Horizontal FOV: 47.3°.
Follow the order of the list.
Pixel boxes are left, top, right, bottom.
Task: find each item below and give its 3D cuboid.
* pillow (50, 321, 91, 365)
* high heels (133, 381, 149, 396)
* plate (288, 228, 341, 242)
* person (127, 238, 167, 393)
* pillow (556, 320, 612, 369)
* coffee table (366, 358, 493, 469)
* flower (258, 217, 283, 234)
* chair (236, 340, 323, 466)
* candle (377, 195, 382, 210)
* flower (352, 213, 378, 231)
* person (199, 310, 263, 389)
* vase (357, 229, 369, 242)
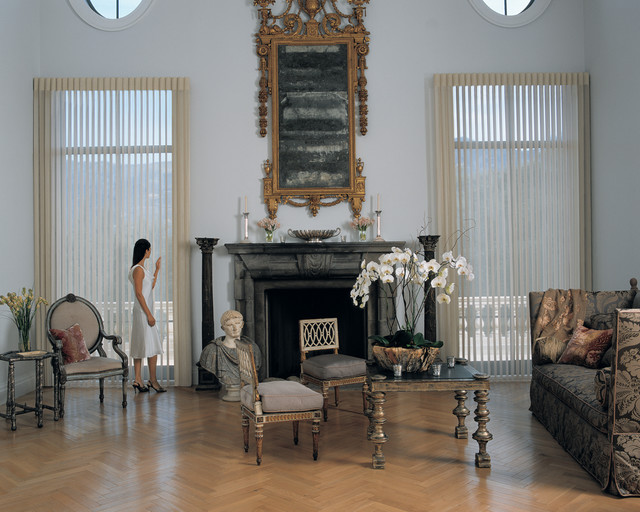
[{"bbox_3d":[-2.920,1.018,8.605,0.112,0.400,0.388,-22,-7,28],"label":"pillow"},{"bbox_3d":[-2.285,1.666,9.313,0.203,0.175,0.114,-3,5,-30],"label":"high heels"},{"bbox_3d":[-0.075,-0.284,9.565,0.672,0.161,0.374,-1,9,0],"label":"plate"},{"bbox_3d":[-2.226,0.734,9.332,0.405,1.962,0.596,-2,8,-13],"label":"person"},{"bbox_3d":[2.827,0.955,7.689,0.123,0.455,0.424,29,-7,-26],"label":"pillow"},{"bbox_3d":[1.132,1.465,7.358,1.267,0.859,1.295,0,9,4],"label":"coffee table"},{"bbox_3d":[-0.669,-0.427,9.508,0.211,0.166,0.216,2,-3,-36],"label":"flower"},{"bbox_3d":[-0.396,1.423,7.665,0.927,1.668,0.958,0,-1,-14],"label":"chair"},{"bbox_3d":[0.791,-0.722,9.610,0.064,0.213,0.274,0,9,7],"label":"candle"},{"bbox_3d":[0.589,-0.469,9.553,0.220,0.180,0.241,0,1,-7],"label":"flower"},{"bbox_3d":[-1.059,1.119,8.717,0.836,1.210,0.544,2,-4,-35],"label":"person"},{"bbox_3d":[0.567,-0.301,9.555,0.120,0.162,0.131,2,5,14],"label":"vase"}]
